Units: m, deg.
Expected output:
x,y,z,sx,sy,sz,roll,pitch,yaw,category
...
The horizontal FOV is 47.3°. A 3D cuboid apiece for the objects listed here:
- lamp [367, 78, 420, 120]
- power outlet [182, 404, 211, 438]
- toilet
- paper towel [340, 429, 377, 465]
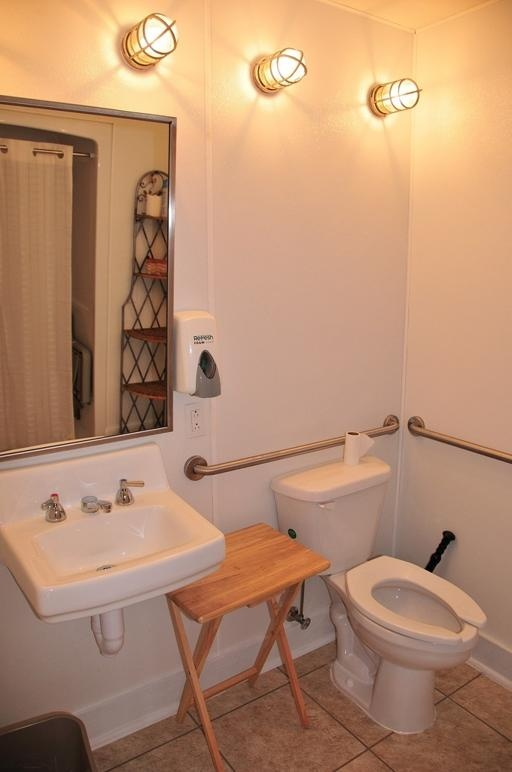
x,y,z,sx,sy,sz,roll,pitch,yaw,category
0.468,-0.956,2.009,0.181,0.145,0.164,20,39,40,lamp
-0.180,0.100,1.749,0.010,0.104,0.088,14,18,42,power outlet
0.541,0.624,2.182,0.577,0.921,0.855,-10,13,-36,toilet
0.365,0.218,2.170,0.131,0.136,0.073,-3,11,-23,paper towel
